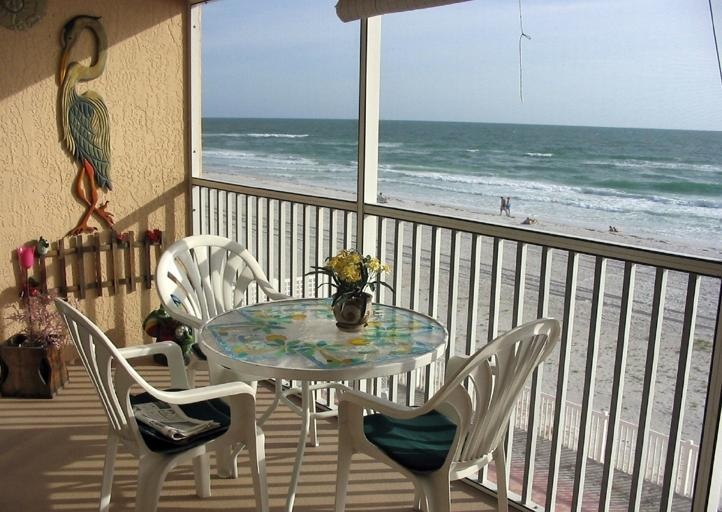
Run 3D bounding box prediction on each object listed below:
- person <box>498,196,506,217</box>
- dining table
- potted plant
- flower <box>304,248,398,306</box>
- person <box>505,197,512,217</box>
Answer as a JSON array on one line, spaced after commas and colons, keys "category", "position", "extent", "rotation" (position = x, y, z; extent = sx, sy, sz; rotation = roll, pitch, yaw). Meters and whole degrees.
[{"category": "person", "position": [6.520, -2.261, 26.408], "extent": [0.346, 0.773, 0.793], "rotation": [1, 11, 13]}, {"category": "dining table", "position": [-0.210, 0.913, 3.013], "extent": [1.166, 0.729, 1.150], "rotation": [6, 16, 15]}, {"category": "potted plant", "position": [-1.625, 0.619, 4.848], "extent": [0.413, 0.569, 0.332], "rotation": [5, -9, -10]}, {"category": "flower", "position": [-0.028, 0.120, 2.895], "extent": [0.351, 0.267, 0.450], "rotation": [-2, -12, 40]}, {"category": "person", "position": [6.766, -2.222, 26.361], "extent": [0.281, 0.789, 0.659], "rotation": [1, 11, 14]}]
